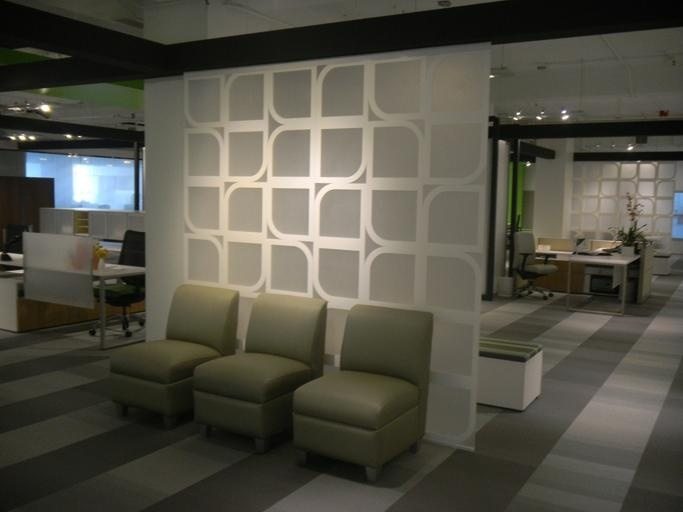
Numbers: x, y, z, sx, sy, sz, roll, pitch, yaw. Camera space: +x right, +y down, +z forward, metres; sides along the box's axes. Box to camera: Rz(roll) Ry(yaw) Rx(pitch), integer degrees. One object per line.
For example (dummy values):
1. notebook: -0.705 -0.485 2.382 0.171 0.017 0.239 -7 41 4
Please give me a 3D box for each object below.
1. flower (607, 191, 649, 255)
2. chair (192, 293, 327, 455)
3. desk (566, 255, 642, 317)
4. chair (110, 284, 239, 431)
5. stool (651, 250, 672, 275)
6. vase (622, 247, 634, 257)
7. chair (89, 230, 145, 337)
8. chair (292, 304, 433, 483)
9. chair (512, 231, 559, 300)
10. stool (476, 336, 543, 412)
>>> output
1. flower: 6.561 -0.704 12.025 0.805 1.299 0.845 1 0 -21
2. chair: -0.763 1.030 5.064 0.866 1.205 1.101 2 2 27
3. desk: 5.370 0.497 10.818 1.250 1.040 2.061 5 10 27
4. chair: -1.699 0.970 5.470 0.911 1.213 1.115 4 3 31
5. stool: 9.245 0.186 15.307 0.632 0.855 0.648 2 6 23
6. vase: 5.960 -0.090 10.977 0.197 0.153 0.203 0 4 12
7. chair: -3.278 0.389 7.898 0.849 1.472 0.836 4 3 26
8. chair: 0.203 1.117 4.601 0.970 1.232 1.177 3 3 42
9. chair: 4.325 0.151 11.775 0.892 1.428 1.310 4 10 22
10. stool: 1.800 1.180 5.702 0.661 0.625 0.674 2 7 31
